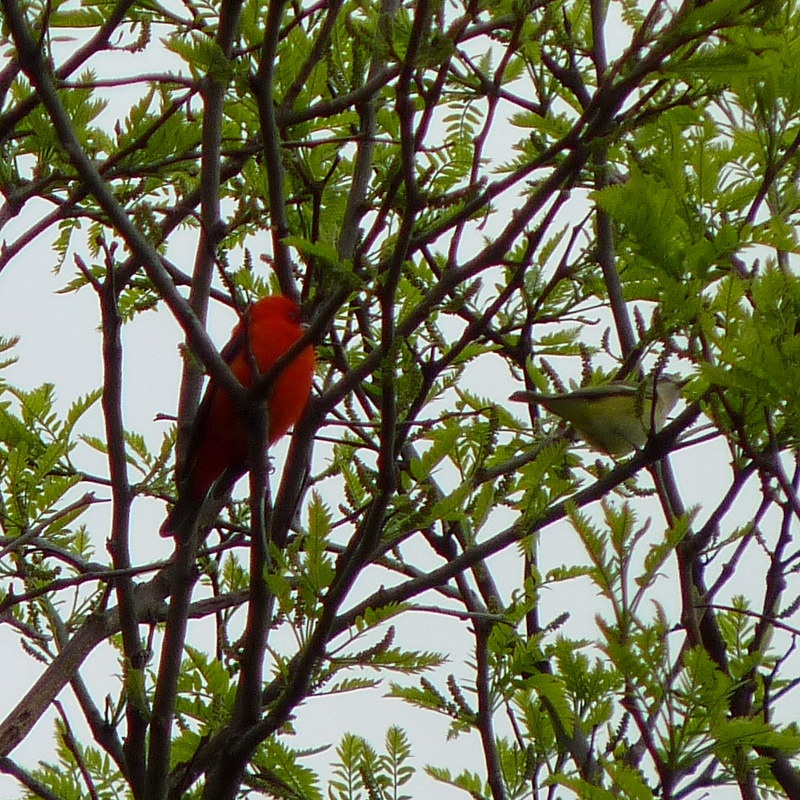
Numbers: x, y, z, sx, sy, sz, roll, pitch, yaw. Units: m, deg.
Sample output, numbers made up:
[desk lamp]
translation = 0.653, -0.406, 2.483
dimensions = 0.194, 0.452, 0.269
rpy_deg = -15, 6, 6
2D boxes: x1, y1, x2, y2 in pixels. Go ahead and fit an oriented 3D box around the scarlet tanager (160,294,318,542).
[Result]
[scarlet tanager]
translation = -0.287, 0.031, 2.963
dimensions = 0.408, 0.219, 0.146
rpy_deg = -57, -36, 6
